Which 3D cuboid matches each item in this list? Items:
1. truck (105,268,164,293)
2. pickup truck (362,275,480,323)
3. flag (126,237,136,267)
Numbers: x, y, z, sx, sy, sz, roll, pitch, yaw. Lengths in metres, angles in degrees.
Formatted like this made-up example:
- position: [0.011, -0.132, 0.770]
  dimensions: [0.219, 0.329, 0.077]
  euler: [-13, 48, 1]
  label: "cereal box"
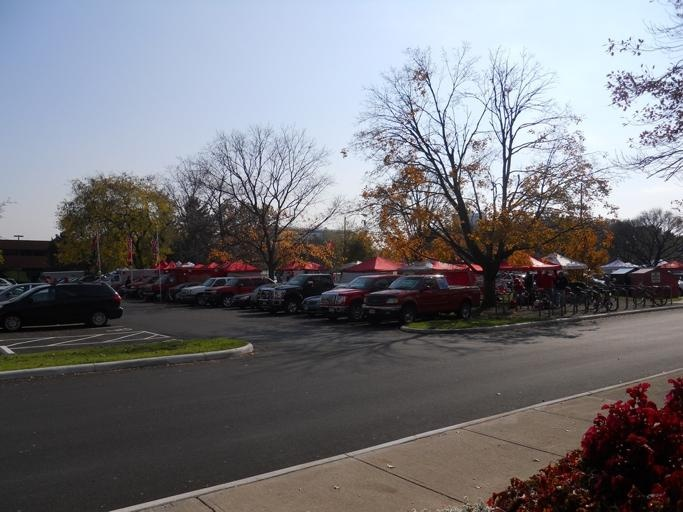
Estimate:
- position: [-19.281, 2.733, 47.290]
  dimensions: [4.957, 2.975, 2.756]
  euler: [1, 0, -9]
  label: "truck"
- position: [3.328, 1.895, 22.521]
  dimensions: [4.546, 1.637, 2.168]
  euler: [3, -5, -41]
  label: "pickup truck"
- position: [-21.531, -0.440, 52.567]
  dimensions: [0.702, 2.896, 9.584]
  euler: [-2, -2, -22]
  label: "flag"
